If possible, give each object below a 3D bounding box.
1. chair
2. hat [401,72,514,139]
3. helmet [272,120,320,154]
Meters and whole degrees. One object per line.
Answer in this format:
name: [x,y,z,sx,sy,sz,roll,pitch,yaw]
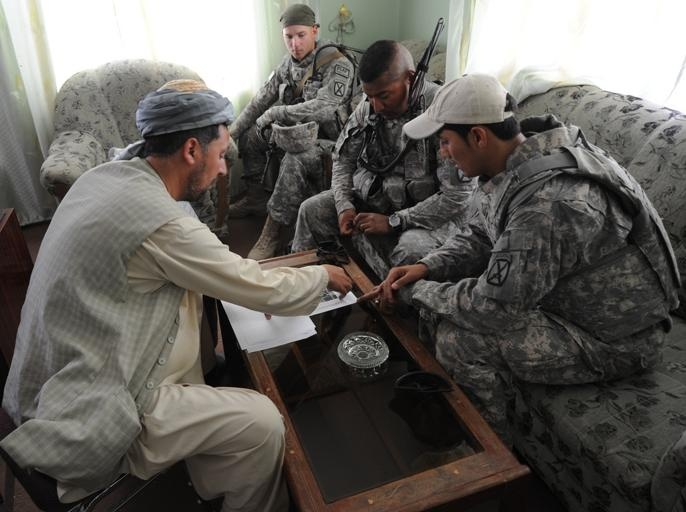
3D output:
chair: [-1.194,-0.611,3.567,1.481,1.472,1.211,-5,58,-18]
hat: [0.412,-0.533,1.634,0.318,0.166,0.209,0,23,13]
helmet: [-0.307,-0.769,3.016,0.207,0.155,0.255,-1,12,-2]
